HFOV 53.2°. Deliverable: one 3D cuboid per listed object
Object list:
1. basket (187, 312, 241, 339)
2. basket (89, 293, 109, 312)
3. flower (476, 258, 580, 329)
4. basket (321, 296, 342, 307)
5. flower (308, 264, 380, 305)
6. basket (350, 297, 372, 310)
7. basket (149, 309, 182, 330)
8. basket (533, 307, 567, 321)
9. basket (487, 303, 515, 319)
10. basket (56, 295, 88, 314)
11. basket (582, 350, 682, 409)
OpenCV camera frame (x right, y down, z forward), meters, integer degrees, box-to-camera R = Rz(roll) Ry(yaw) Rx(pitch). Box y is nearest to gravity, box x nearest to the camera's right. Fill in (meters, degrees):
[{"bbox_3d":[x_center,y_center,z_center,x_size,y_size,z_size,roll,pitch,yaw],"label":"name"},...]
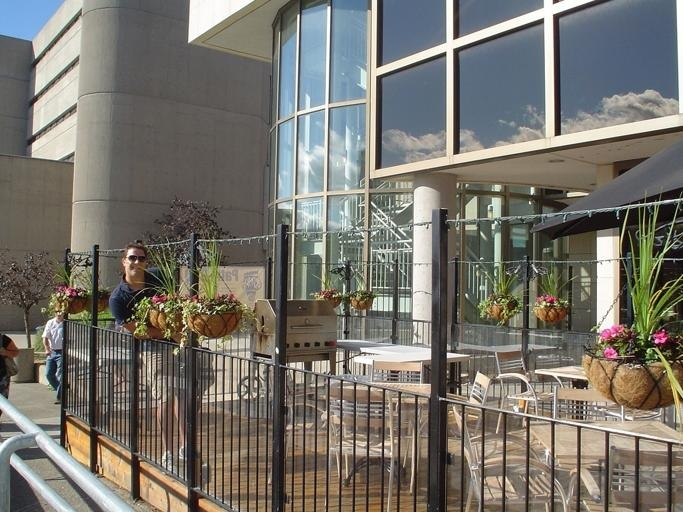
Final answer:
[{"bbox_3d":[-1.307,0.714,7.033,0.542,0.273,0.318,0,-3,-13],"label":"basket"},{"bbox_3d":[-3.883,0.727,10.890,0.325,0.321,0.384,2,-7,-17],"label":"basket"},{"bbox_3d":[3.584,0.704,13.293,1.393,1.086,0.877,0,1,19],"label":"flower"},{"bbox_3d":[-0.161,0.887,12.979,0.294,0.192,0.309,-1,-4,4],"label":"basket"},{"bbox_3d":[0.006,0.639,13.625,0.746,0.617,1.142,1,-6,-11],"label":"flower"},{"bbox_3d":[0.386,0.881,13.202,0.441,0.286,0.277,-1,-3,1],"label":"basket"},{"bbox_3d":[-1.914,0.689,7.451,0.255,0.228,0.539,2,-4,-39],"label":"basket"},{"bbox_3d":[3.210,0.900,10.530,0.274,0.173,0.300,2,-6,-16],"label":"basket"},{"bbox_3d":[2.647,0.926,11.505,0.257,0.195,0.309,1,-6,0],"label":"basket"},{"bbox_3d":[-4.567,0.841,11.583,0.325,0.209,0.344,2,-9,-24],"label":"basket"},{"bbox_3d":[2.170,0.942,5.092,0.426,0.304,0.432,5,-11,-40],"label":"basket"}]
